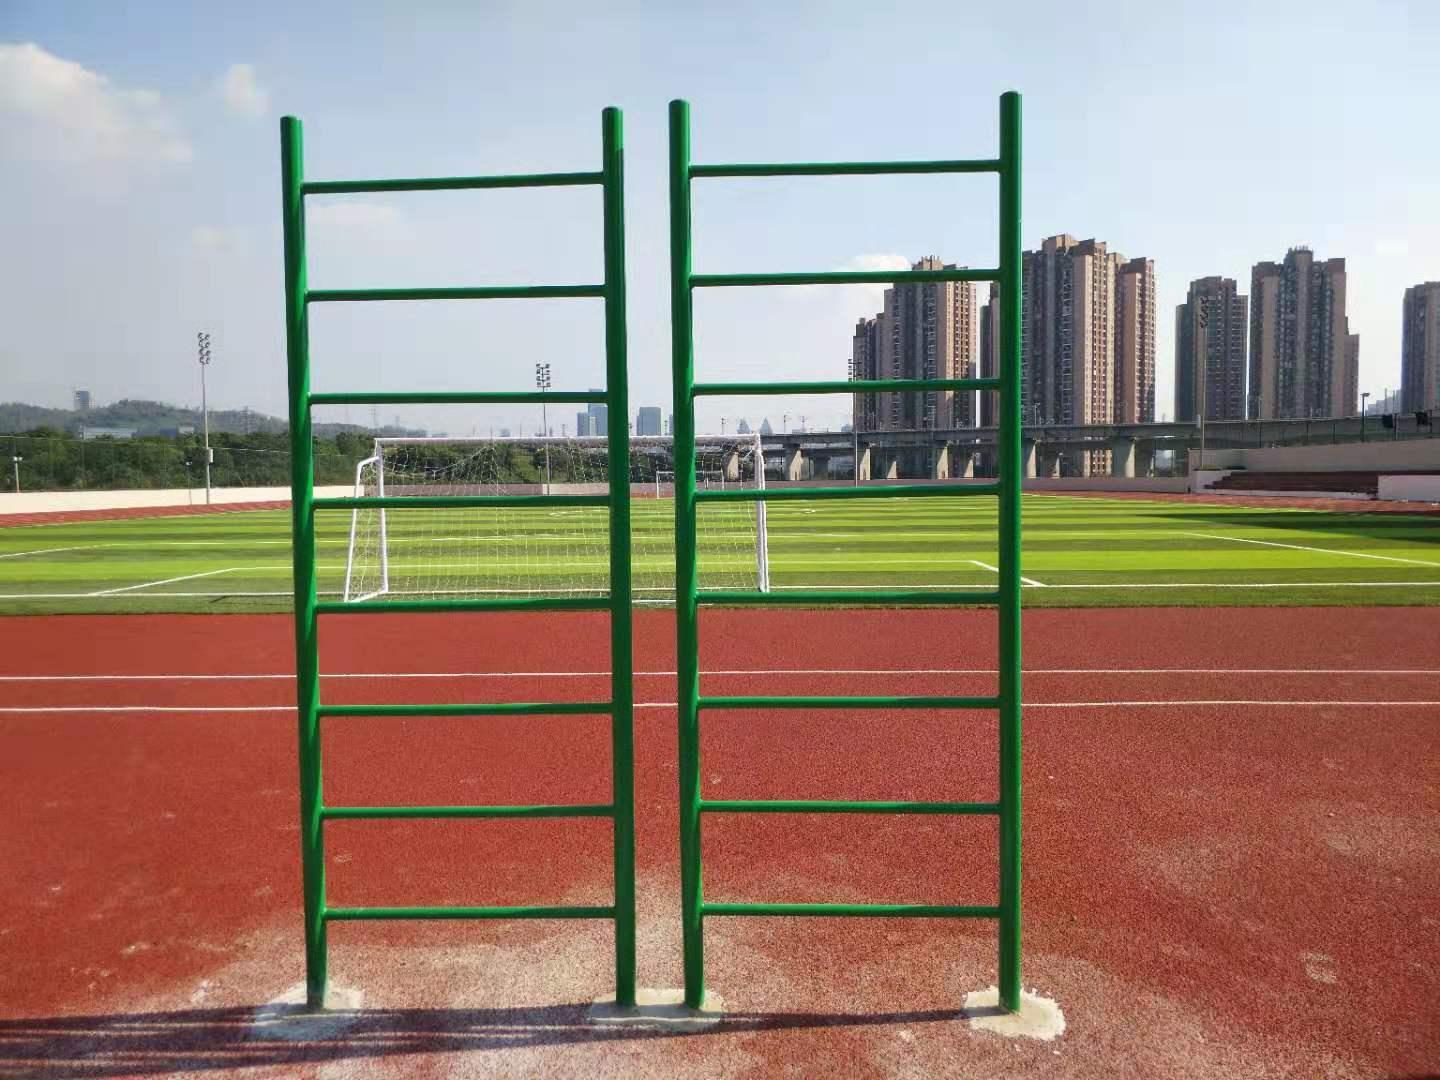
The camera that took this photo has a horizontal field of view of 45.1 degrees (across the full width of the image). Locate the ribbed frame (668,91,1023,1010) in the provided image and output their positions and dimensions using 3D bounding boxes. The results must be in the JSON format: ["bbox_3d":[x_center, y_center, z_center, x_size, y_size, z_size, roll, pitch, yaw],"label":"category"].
[{"bbox_3d":[0.627,0.115,8.669,1.735,4.661,0.156,-1,10,4],"label":"ribbed frame"}]

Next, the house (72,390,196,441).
[{"bbox_3d":[-25.093,-5.453,75.898,4.076,1.288,45.321,-2,6,-18],"label":"house"}]

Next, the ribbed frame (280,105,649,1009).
[{"bbox_3d":[-1.225,0.121,8.527,1.716,4.454,4.859,-2,6,-13],"label":"ribbed frame"}]
